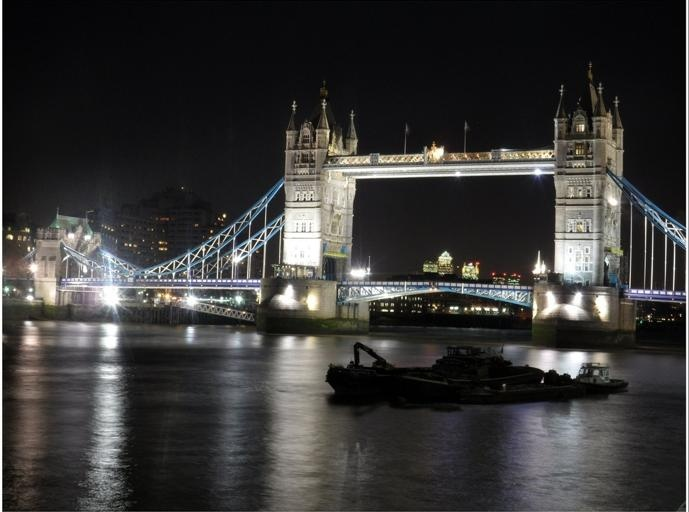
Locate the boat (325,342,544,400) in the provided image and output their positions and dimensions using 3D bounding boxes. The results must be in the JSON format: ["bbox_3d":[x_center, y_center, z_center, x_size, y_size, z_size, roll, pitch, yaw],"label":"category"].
[{"bbox_3d":[3.613,5.224,38.338,7.581,1.942,3.706,1,-1,-19],"label":"boat"}]

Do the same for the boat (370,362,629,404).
[{"bbox_3d":[7.249,5.747,38.128,11.080,1.228,2.798,1,0,-29],"label":"boat"}]
